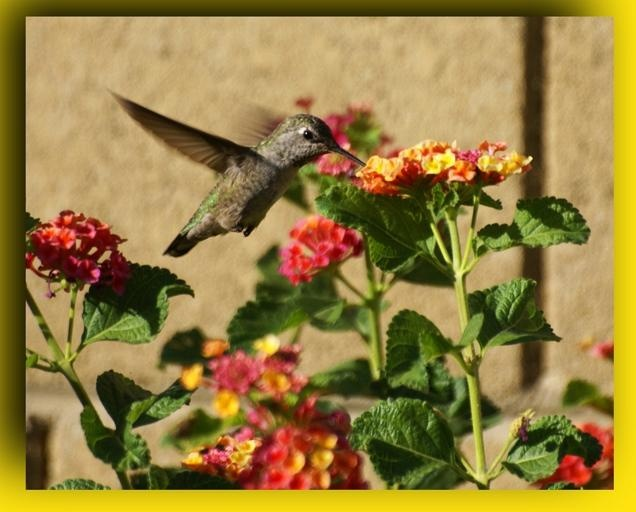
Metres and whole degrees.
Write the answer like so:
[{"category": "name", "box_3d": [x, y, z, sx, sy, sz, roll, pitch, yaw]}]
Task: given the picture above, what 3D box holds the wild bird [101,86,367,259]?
[{"category": "wild bird", "box_3d": [-0.431, -0.333, 5.589, 0.948, 0.594, 0.954, -1, -1, -22]}]
